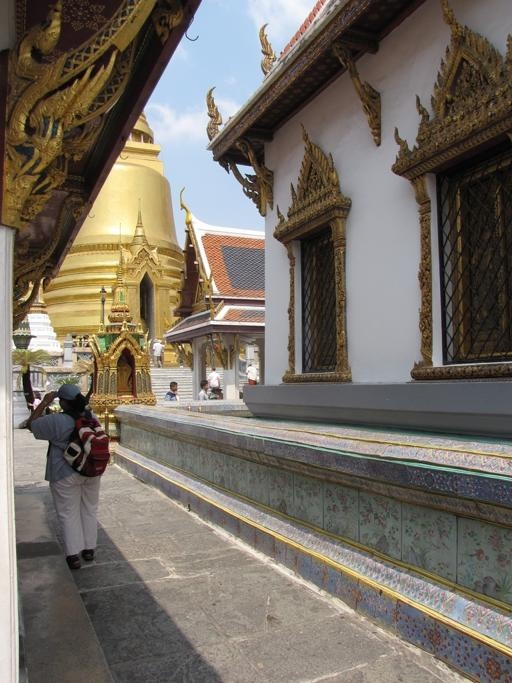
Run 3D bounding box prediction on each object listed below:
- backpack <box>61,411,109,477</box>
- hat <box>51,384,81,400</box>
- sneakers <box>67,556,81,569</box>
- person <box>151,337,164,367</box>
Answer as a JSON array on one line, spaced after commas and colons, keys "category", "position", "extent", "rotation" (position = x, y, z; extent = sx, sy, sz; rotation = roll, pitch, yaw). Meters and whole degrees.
[{"category": "backpack", "position": [-1.223, 0.712, 3.981], "extent": [0.312, 0.407, 0.421], "rotation": [3, 22, -35]}, {"category": "hat", "position": [-1.401, 0.368, 4.114], "extent": [0.157, 0.116, 0.121], "rotation": [-19, -2, 11]}, {"category": "sneakers", "position": [-1.239, 1.502, 3.776], "extent": [0.049, 0.054, 0.129], "rotation": [6, -12, -29]}, {"category": "person", "position": [-4.699, 0.508, 26.544], "extent": [0.359, 1.398, 1.845], "rotation": [-2, -6, -14]}]
